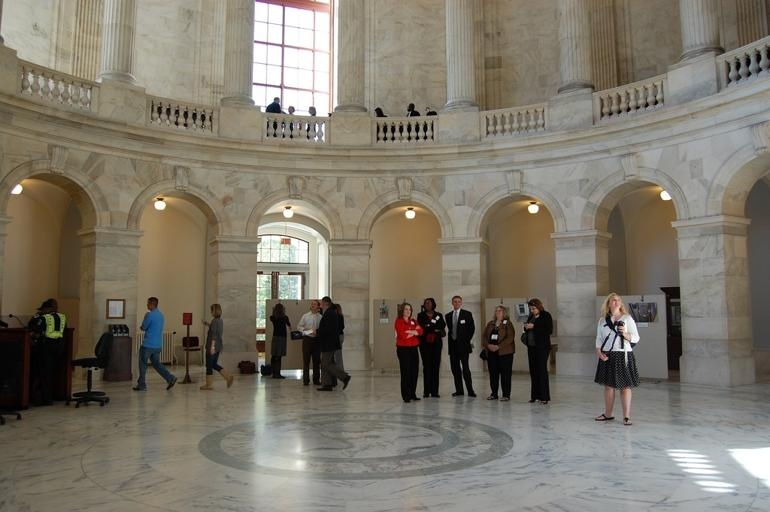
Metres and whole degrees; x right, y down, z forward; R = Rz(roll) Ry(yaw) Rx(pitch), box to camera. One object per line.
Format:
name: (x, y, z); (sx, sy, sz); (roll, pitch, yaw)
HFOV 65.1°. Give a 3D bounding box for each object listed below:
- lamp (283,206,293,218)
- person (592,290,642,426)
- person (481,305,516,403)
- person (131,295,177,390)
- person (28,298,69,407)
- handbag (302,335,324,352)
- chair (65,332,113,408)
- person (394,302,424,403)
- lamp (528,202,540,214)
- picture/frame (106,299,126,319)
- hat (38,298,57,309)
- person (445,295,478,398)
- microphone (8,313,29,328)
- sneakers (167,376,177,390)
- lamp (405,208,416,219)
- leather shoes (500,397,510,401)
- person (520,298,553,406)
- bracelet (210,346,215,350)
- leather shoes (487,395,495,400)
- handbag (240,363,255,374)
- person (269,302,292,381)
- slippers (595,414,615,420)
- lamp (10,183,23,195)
lamp: (-3.275, -1.528, 20.416); (0.377, 0.427, 0.373); (0, -13, -2)
person: (4.175, 1.823, 10.887); (0.750, 2.254, 1.134); (-2, -8, 20)
person: (2.376, 2.027, 12.740); (0.658, 1.943, 1.211); (-1, -7, 9)
person: (-5.433, 2.037, 14.300); (0.873, 2.174, 1.253); (3, -8, -22)
person: (-6.858, 1.937, 12.297); (0.616, 2.072, 0.798); (2, -7, -12)
handbag: (-1.760, 2.122, 14.817); (0.568, 0.529, 0.342); (2, -6, -17)
chair: (-6.116, 2.312, 12.599); (0.737, 1.482, 0.938); (4, -8, -24)
person: (0.510, 2.034, 12.793); (0.601, 2.014, 0.410); (2, -8, -13)
lamp: (4.747, -1.547, 19.356); (0.422, 0.412, 0.098); (2, 2, -10)
picture/frame: (-7.074, 1.369, 15.795); (0.532, 0.544, 0.043); (2, -7, -39)
hat: (-6.874, 0.991, 12.351); (0.266, 0.251, 0.626); (4, -8, -26)
person: (1.671, 1.998, 13.275); (0.659, 2.100, 0.973); (-1, -7, 8)
microphone: (-9.817, 1.726, 16.138); (0.266, 0.203, 0.740); (9, -2, -25)
sneakers: (-5.028, 2.994, 14.264); (0.148, 0.172, 0.433); (22, -45, -30)
lamp: (0.824, -1.390, 19.513); (0.336, 0.313, 0.331); (2, 2, 9)
leather shoes: (2.533, 2.975, 12.649); (0.160, 0.047, 0.086); (0, 0, 2)
person: (3.146, 1.922, 12.423); (0.563, 2.126, 0.861); (-2, -8, 15)
bracelet: (-3.983, 2.104, 13.949); (0.058, 0.077, 0.019); (0, -2, -5)
leather shoes: (2.270, 2.978, 12.800); (0.185, 0.075, 0.062); (2, -5, 18)
handbag: (-3.829, 3.111, 16.827); (0.298, 0.250, 0.356); (2, -10, -12)
person: (-2.837, 2.234, 16.242); (0.493, 2.015, 0.562); (1, -7, -9)
slippers: (3.978, 2.874, 10.879); (0.315, 0.092, 0.120); (2, -5, 0)
lamp: (-10.507, -1.957, 17.257); (0.273, 0.278, 0.701); (5, -9, -32)
